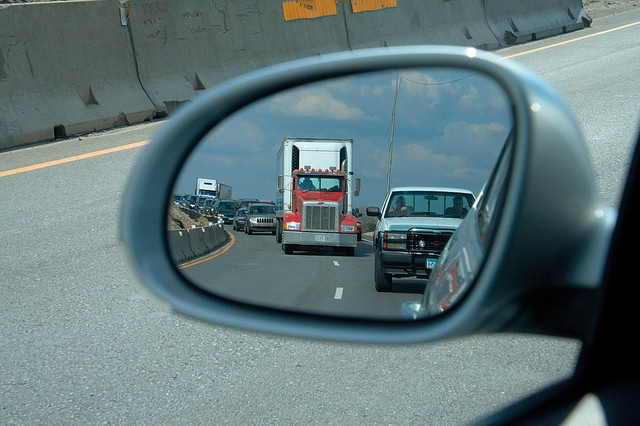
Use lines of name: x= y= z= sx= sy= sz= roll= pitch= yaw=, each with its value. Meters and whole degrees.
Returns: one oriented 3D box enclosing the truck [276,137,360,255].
truck: x=-0.144 y=-0.563 z=16.834 sx=1.793 sy=2.568 sz=4.913 roll=1 pitch=-3 yaw=-1
